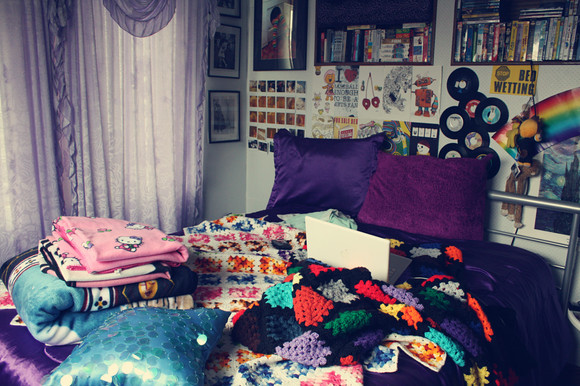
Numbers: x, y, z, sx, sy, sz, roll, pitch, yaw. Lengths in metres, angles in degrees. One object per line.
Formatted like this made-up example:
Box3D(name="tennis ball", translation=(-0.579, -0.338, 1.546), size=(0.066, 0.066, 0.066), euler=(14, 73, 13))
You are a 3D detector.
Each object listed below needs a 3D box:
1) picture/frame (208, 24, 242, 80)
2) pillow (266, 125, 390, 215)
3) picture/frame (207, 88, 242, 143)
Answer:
Box3D(name="picture/frame", translation=(-0.572, -1.225, 3.696), size=(0.014, 0.440, 0.372), euler=(16, 20, 34))
Box3D(name="pillow", translation=(0.240, -0.141, 3.175), size=(0.885, 0.637, 0.324), euler=(7, 6, 33))
Box3D(name="picture/frame", translation=(-0.598, -0.697, 3.792), size=(0.039, 0.550, 0.461), euler=(6, 11, 35))
